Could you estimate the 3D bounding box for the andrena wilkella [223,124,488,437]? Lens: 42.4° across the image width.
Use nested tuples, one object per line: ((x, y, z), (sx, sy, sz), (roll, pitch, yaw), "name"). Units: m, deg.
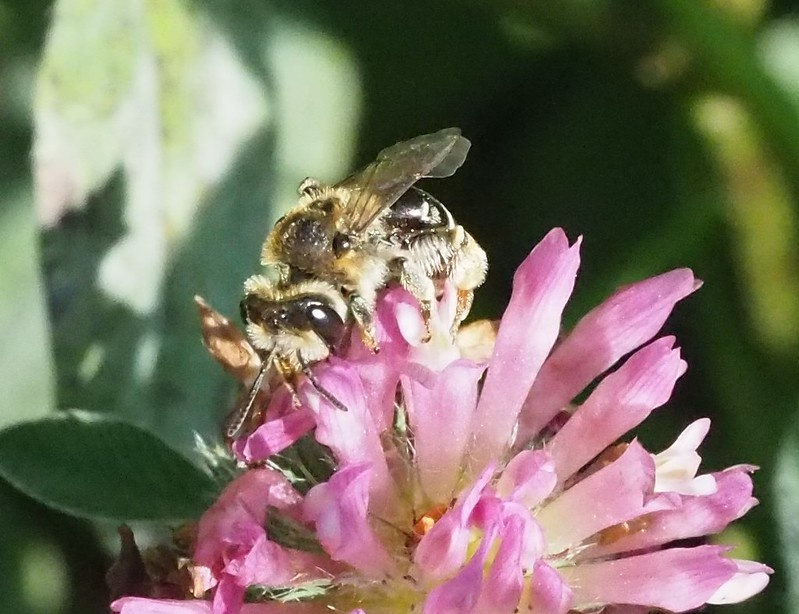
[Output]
((-0.004, -0.005, 0.959), (0.285, 0.099, 0.205), (-47, 37, 2), "andrena wilkella")
